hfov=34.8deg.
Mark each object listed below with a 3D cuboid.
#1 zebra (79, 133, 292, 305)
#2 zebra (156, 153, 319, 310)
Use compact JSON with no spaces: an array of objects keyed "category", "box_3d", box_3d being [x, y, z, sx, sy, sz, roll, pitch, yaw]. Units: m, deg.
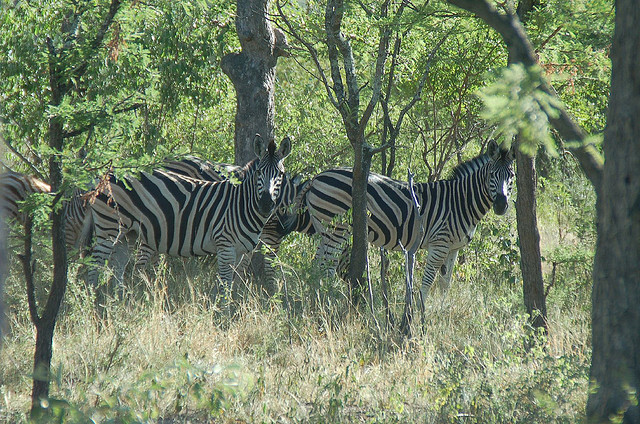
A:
[{"category":"zebra","box_3d":[-2.021,0.318,15.486,3.331,2.671,0.888,0,3,18]},{"category":"zebra","box_3d":[-1.664,0.389,16.925,1.064,2.879,3.998,1,-6,-35]}]
